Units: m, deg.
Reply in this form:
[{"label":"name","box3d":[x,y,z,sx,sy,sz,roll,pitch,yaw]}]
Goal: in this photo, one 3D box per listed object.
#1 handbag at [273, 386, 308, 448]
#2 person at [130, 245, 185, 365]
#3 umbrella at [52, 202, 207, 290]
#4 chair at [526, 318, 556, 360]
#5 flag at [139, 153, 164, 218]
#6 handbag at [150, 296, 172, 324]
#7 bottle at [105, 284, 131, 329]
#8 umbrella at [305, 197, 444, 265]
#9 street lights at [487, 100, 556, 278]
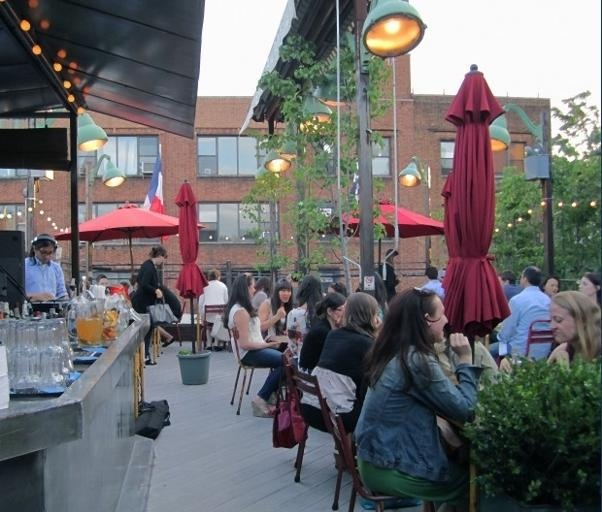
[{"label":"handbag","box3d":[-0.137,1.357,6.860,0.280,0.685,0.171,-10,-11,26]},{"label":"person","box3d":[-2.285,0.737,12.141,0.736,1.845,0.576,2,11,-12]},{"label":"umbrella","box3d":[-3.047,-0.203,13.671,1.422,1.133,1.452,-2,12,-14]},{"label":"chair","box3d":[2.496,0.856,8.057,0.260,0.359,0.469,3,6,17]},{"label":"flag","box3d":[-3.163,-1.497,16.579,0.414,1.644,0.316,5,31,-14]},{"label":"handbag","box3d":[-2.140,0.814,11.656,0.366,0.515,0.189,3,-19,-39]},{"label":"bottle","box3d":[-1.626,0.438,6.825,0.238,0.417,0.231,-2,16,0]},{"label":"umbrella","box3d":[1.302,-0.445,13.199,2.198,1.011,2.349,-2,4,-9]},{"label":"street lights","box3d":[3.175,-0.870,10.845,0.738,2.538,0.300,1,-17,6]}]
